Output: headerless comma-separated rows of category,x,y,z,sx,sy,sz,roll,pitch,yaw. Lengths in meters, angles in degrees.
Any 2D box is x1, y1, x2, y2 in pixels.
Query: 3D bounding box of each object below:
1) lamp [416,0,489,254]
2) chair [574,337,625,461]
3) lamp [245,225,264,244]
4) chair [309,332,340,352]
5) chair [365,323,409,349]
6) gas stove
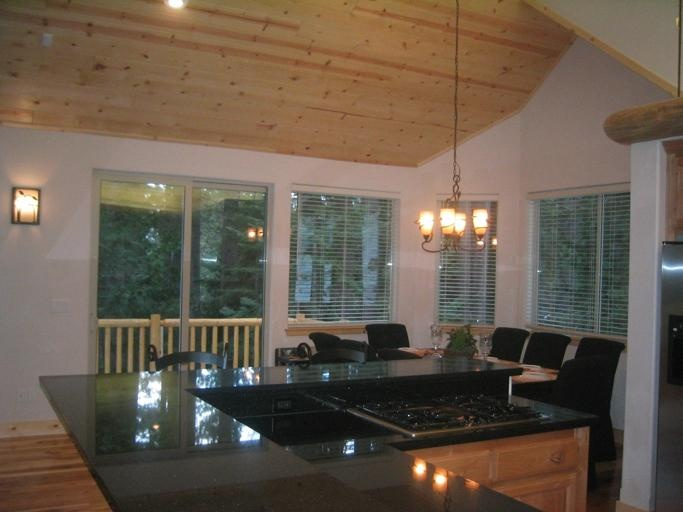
lamp,1.179,-1.167,5.913,0.855,2.204,2.371,5,1,14
chair,2.186,1.232,5.096,0.677,0.940,0.662,-1,4,11
lamp,-0.959,-0.252,6.319,0.200,0.130,0.045,3,2,-40
chair,-0.155,0.772,5.175,0.203,0.215,0.245,14,-37,-30
chair,0.506,0.902,6.316,0.293,0.406,0.342,2,-11,-13
gas stove,0.574,0.831,3.003,1.039,0.054,0.528,4,1,-25
